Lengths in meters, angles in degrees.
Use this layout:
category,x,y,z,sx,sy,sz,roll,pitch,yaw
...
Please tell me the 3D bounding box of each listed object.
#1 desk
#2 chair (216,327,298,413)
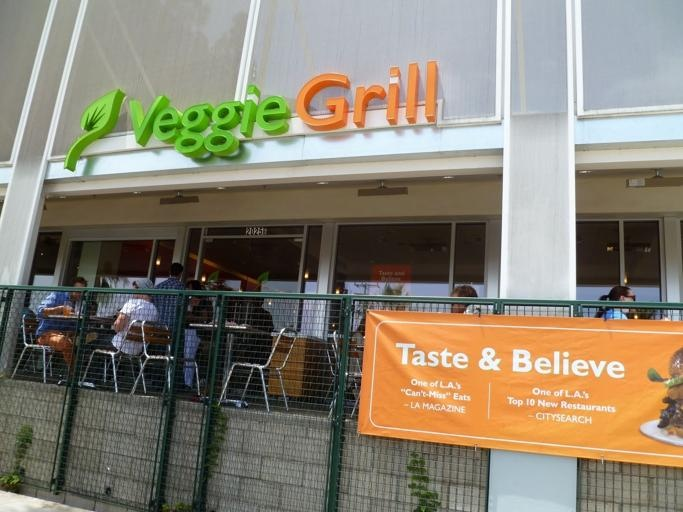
category,x,y,z,sx,sy,sz,roll,pitch,yaw
desk,-1.214,1.102,5.804,0.758,0.754,0.527,1,-3,27
chair,-0.865,1.119,5.538,0.517,0.728,0.399,13,-6,-13
